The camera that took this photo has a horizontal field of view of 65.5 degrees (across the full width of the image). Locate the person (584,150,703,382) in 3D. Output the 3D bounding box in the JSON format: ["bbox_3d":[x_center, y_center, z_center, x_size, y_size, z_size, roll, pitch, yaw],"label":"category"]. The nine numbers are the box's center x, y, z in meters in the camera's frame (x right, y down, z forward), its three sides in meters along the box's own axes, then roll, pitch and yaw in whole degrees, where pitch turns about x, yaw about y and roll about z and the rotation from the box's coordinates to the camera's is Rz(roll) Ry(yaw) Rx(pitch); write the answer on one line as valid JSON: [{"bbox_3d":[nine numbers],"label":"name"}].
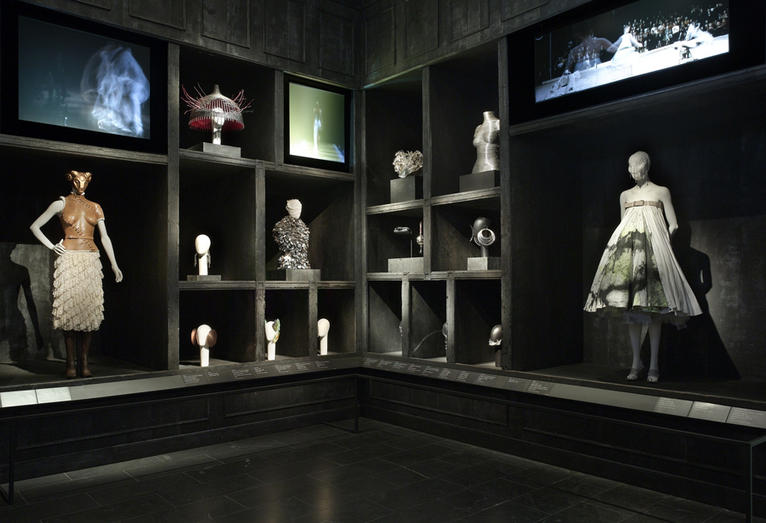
[{"bbox_3d":[2.475,0.034,5.689,0.956,2.178,0.523,3,7,25],"label":"person"}]

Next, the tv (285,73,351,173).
[{"bbox_3d":[-0.845,-1.730,7.294,1.326,1.300,0.104,2,-4,-37],"label":"tv"}]

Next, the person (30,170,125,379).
[{"bbox_3d":[-3.171,0.113,6.217,0.772,2.103,1.013,-3,6,-25],"label":"person"}]
